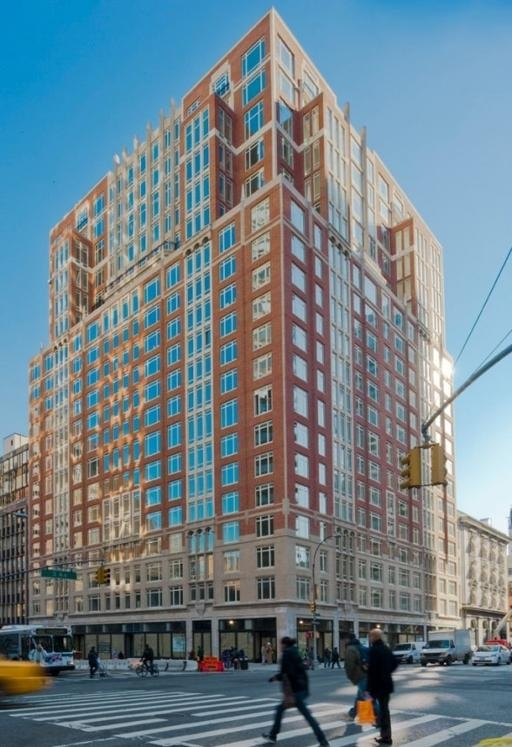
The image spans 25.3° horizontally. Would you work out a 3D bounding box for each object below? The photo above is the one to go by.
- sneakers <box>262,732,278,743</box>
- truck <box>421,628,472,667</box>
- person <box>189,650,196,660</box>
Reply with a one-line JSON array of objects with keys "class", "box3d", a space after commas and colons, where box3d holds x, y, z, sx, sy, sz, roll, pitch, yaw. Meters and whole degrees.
[{"class": "sneakers", "box3d": [0.342, 9.007, 28.077, 0.161, 0.207, 0.442, 4, -2, -14]}, {"class": "truck", "box3d": [11.035, 16.180, 66.829, 1.795, 1.916, 3.682, -10, -26, 27]}, {"class": "person", "box3d": [-4.324, 19.323, 77.773, 0.508, 1.006, 0.529, -2, -9, 6]}]
